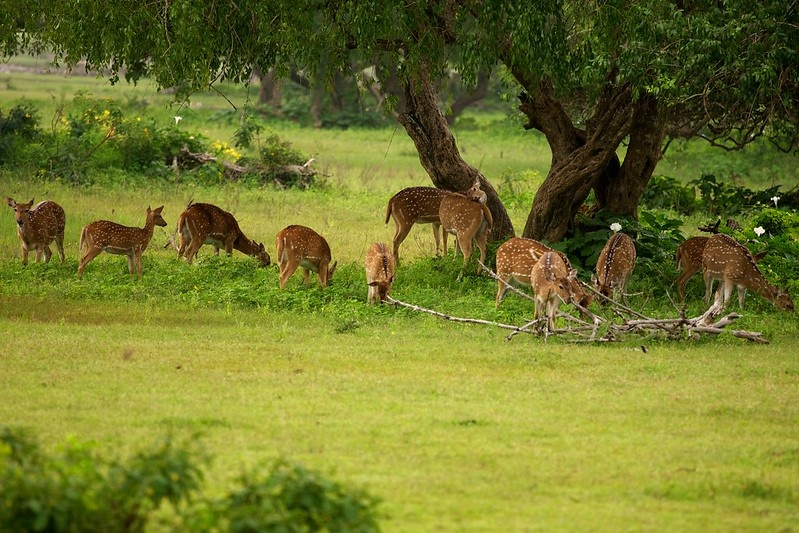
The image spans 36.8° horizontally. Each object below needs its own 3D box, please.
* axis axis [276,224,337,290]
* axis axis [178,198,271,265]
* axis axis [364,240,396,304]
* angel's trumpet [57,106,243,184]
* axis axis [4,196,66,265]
[{"bbox_3d":[-1.688,-0.004,23.081,0.520,1.408,1.903,-1,-10,36],"label":"axis axis"},{"bbox_3d":[-3.521,-0.368,24.168,0.582,1.376,2.277,-8,-21,43],"label":"axis axis"},{"bbox_3d":[-0.458,0.221,22.577,0.430,0.990,1.677,11,29,-12],"label":"axis axis"},{"bbox_3d":[-7.185,-3.143,31.983,3.210,1.400,2.642,5,4,-34],"label":"angel's trumpet"},{"bbox_3d":[-6.957,-0.665,23.266,0.899,1.282,1.231,2,4,5],"label":"axis axis"}]
